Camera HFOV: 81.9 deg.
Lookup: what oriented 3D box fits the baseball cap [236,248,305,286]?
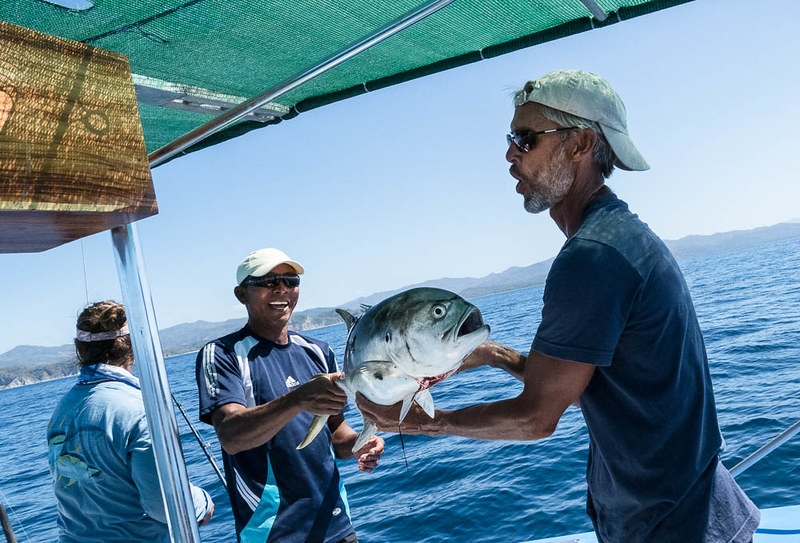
[{"bbox_3d":[-1.044,-0.064,3.472,0.398,0.173,0.294,-14,-9,36],"label":"baseball cap"}]

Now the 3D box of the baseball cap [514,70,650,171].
[{"bbox_3d":[0.917,-0.767,2.257,0.737,0.332,0.461,21,11,7],"label":"baseball cap"}]

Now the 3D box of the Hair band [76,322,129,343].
[{"bbox_3d":[-2.126,0.419,3.301,0.371,0.108,0.373,-1,-4,-14],"label":"Hair band"}]
